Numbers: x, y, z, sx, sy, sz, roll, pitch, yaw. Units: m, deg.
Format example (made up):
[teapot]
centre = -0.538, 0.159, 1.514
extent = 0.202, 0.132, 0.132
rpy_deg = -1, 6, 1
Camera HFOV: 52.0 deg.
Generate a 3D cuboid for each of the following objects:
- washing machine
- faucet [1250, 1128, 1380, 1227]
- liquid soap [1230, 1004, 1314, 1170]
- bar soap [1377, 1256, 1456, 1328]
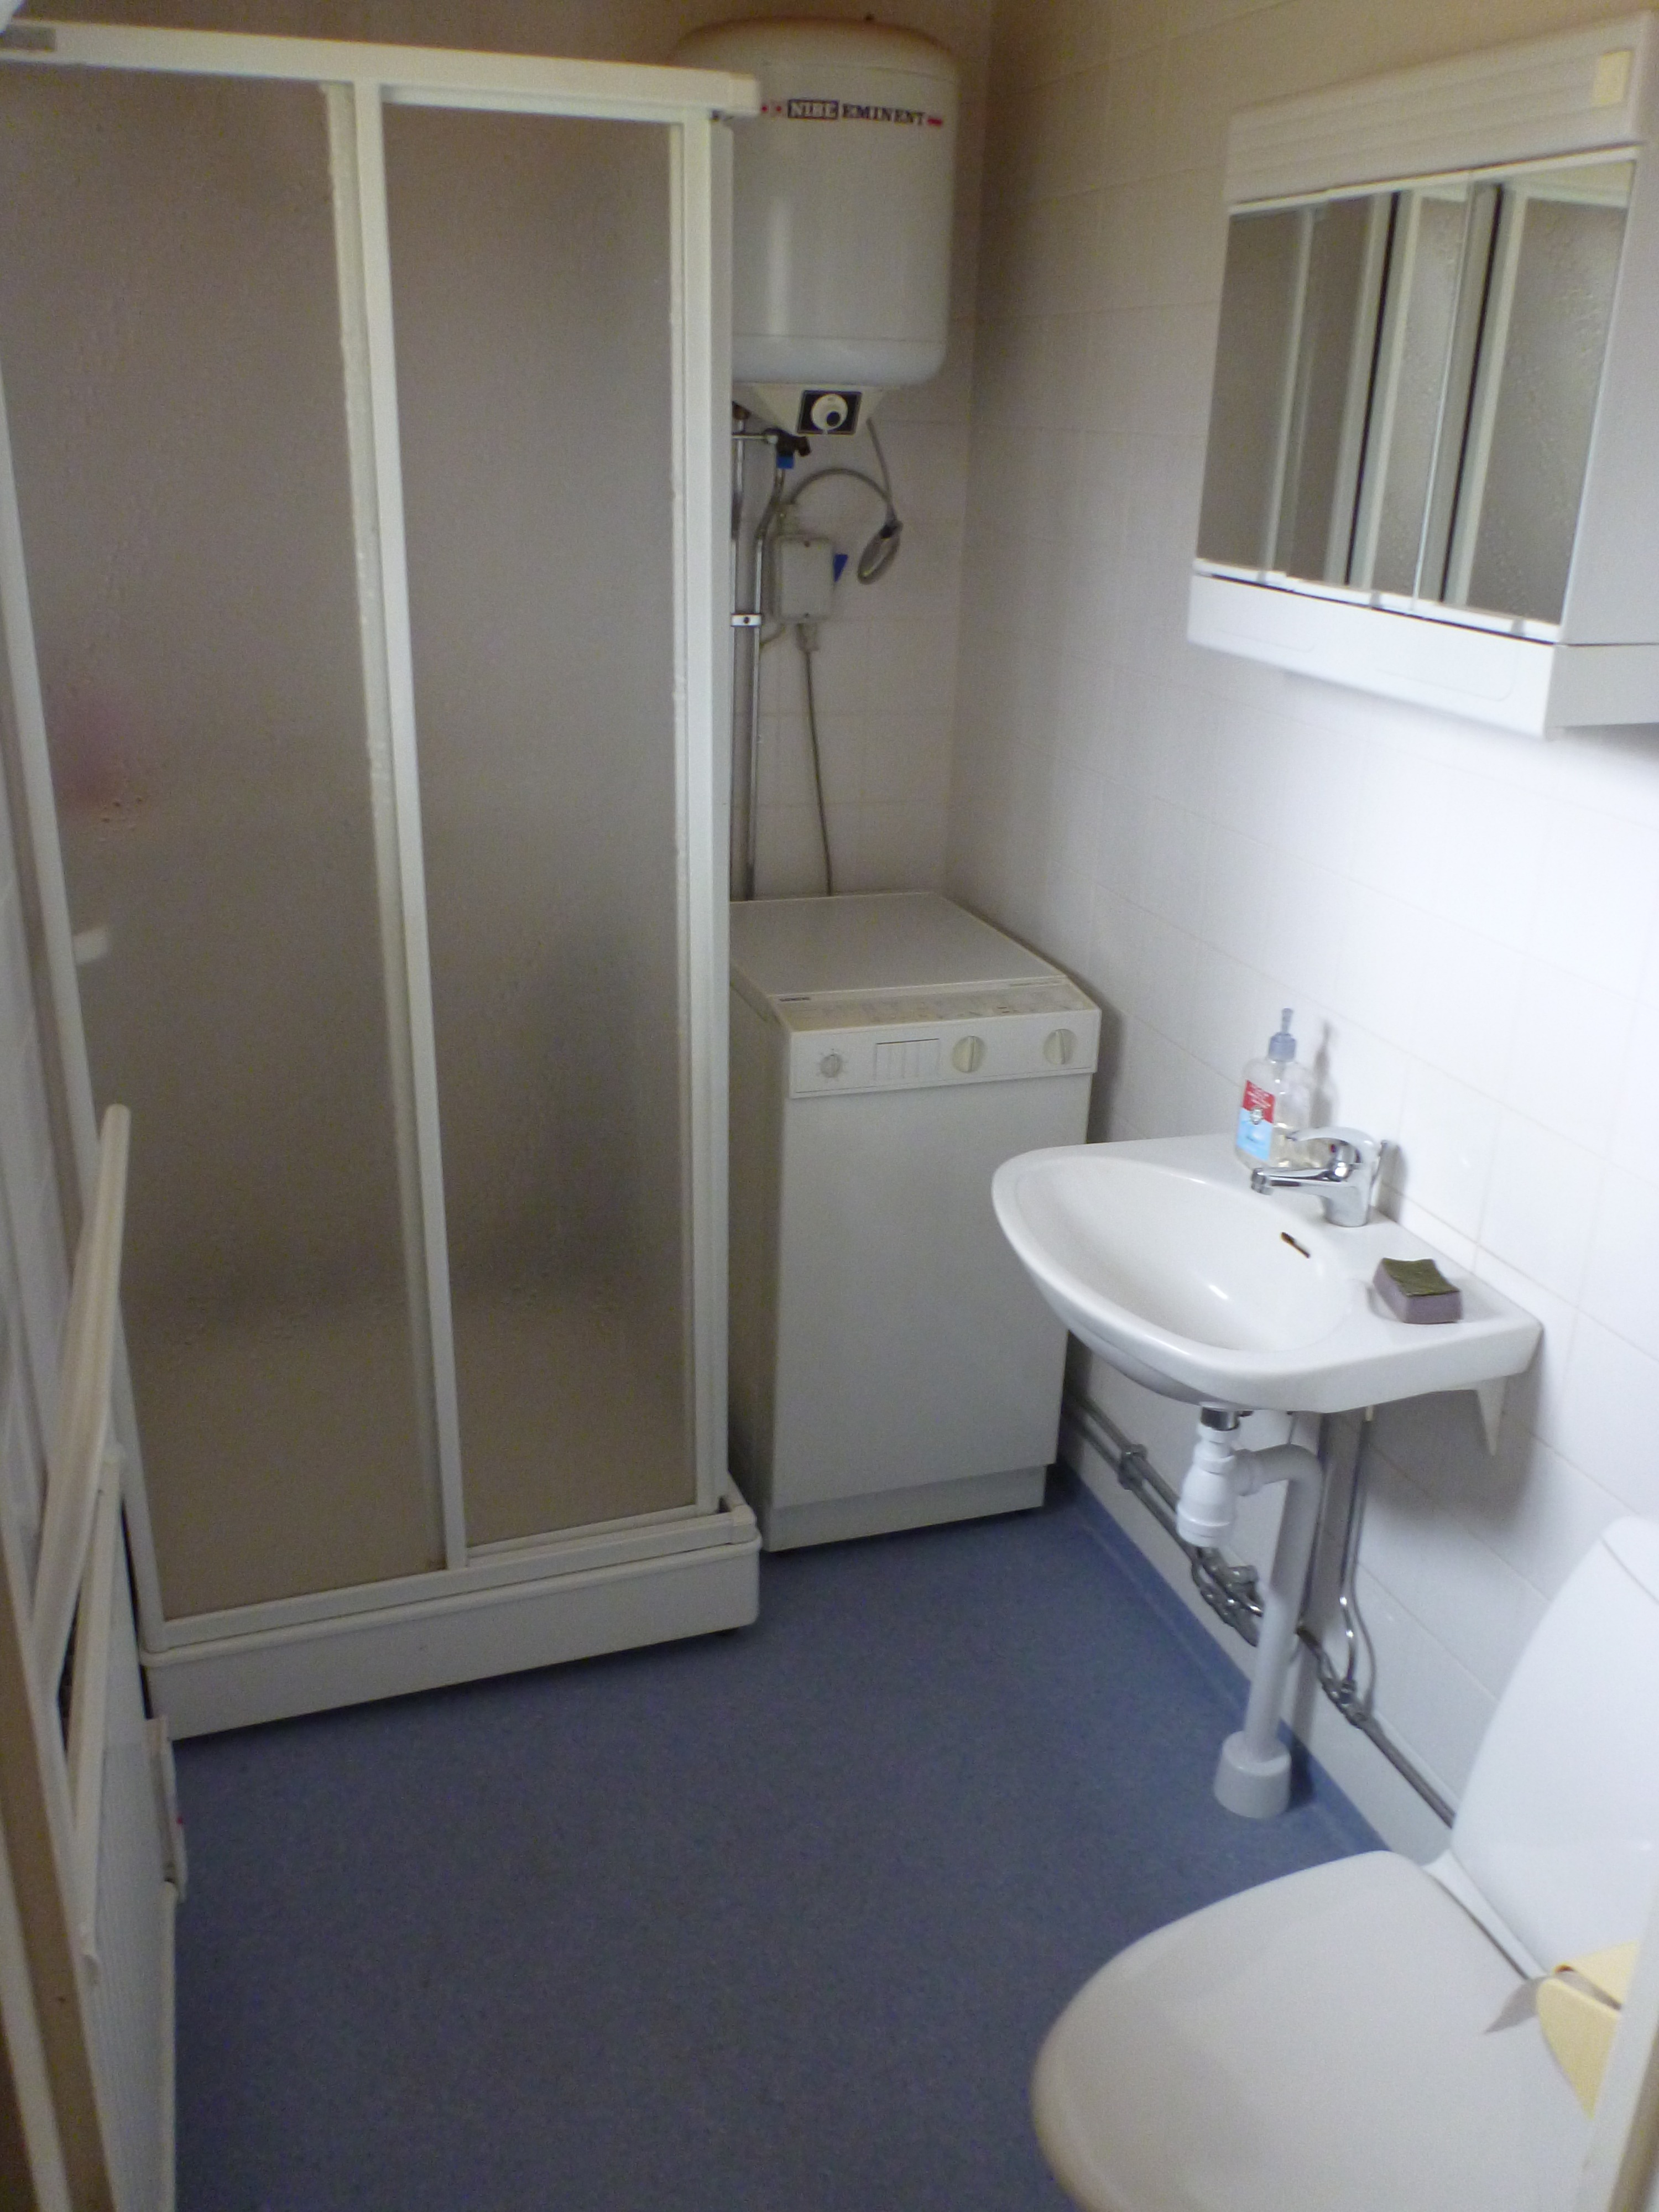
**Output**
[washing machine]
centre = 0.057, 0.163, 2.779
extent = 0.452, 0.935, 0.638
rpy_deg = 0, 22, -9
[faucet]
centre = 0.559, 0.076, 1.968
extent = 0.156, 0.100, 0.123
rpy_deg = 3, 8, 23
[liquid soap]
centre = 0.542, -0.022, 2.061
extent = 0.060, 0.266, 0.092
rpy_deg = -3, 21, -10
[bar soap]
centre = 0.599, 0.186, 1.749
extent = 0.074, 0.050, 0.130
rpy_deg = -1, 8, -4
